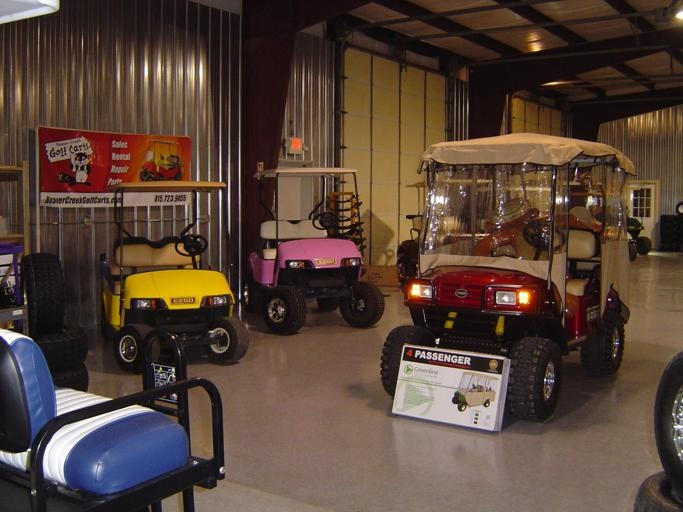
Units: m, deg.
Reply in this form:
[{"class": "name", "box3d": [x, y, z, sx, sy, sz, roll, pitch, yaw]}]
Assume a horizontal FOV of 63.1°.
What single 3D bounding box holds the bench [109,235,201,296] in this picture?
[{"class": "bench", "box3d": [-2.337, -0.052, 6.888, 0.878, 0.668, 0.698, -2, 21, -20]}]
